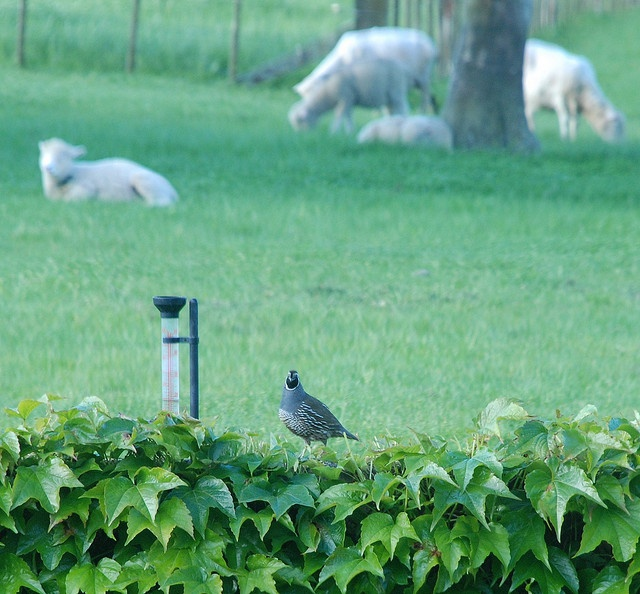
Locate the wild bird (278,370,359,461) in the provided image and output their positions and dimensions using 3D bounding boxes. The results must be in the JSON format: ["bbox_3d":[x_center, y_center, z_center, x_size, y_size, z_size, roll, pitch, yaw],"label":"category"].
[{"bbox_3d":[0.000,0.600,8.534,0.417,0.451,0.263,-2,4,-15],"label":"wild bird"}]

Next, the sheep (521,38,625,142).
[{"bbox_3d":[1.983,-1.517,12.958,0.366,0.706,1.190,-13,31,-42],"label":"sheep"}]

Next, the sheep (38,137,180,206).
[{"bbox_3d":[-1.550,-0.814,12.009,1.063,0.619,0.493,2,-6,7],"label":"sheep"}]
